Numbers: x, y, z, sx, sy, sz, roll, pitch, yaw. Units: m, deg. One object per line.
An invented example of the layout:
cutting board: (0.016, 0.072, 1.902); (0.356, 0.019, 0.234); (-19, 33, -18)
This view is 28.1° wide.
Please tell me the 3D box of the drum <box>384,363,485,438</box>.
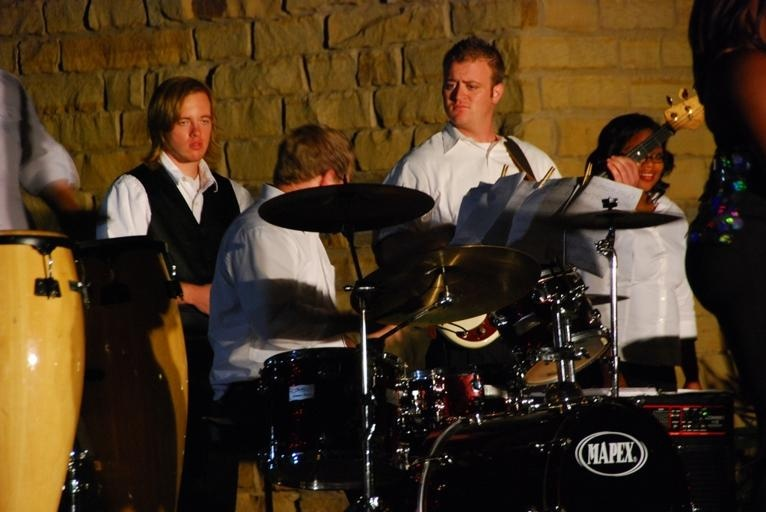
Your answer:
drum: (0.255, 0.676, 6.956); (0.355, 0.236, 0.340); (-3, -12, -1)

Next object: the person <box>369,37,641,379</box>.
person: (0.408, 0.074, 7.934); (0.946, 2.223, 0.587); (0, 16, -7)

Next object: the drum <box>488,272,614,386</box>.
drum: (0.805, 0.347, 7.133); (0.580, 0.417, 0.534); (-24, -22, -10)

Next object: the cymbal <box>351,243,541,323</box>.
cymbal: (0.289, 0.137, 6.963); (0.847, 0.389, 0.444); (-1, 4, 3)

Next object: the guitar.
guitar: (1.314, -0.543, 7.611); (0.859, 0.201, 0.213); (-42, -38, 20)

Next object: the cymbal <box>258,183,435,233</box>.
cymbal: (-0.162, -0.249, 6.799); (0.755, 0.121, 0.727); (0, -13, -15)
